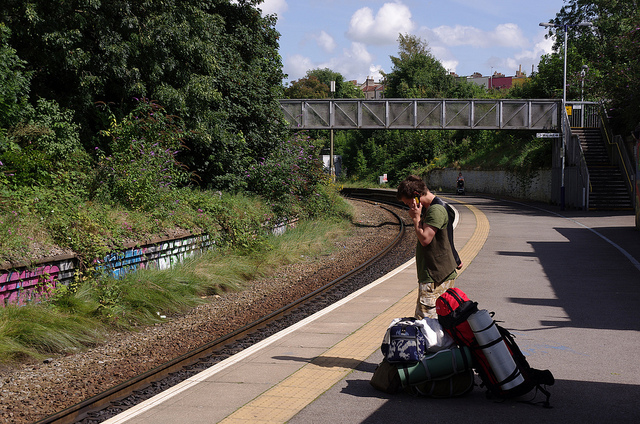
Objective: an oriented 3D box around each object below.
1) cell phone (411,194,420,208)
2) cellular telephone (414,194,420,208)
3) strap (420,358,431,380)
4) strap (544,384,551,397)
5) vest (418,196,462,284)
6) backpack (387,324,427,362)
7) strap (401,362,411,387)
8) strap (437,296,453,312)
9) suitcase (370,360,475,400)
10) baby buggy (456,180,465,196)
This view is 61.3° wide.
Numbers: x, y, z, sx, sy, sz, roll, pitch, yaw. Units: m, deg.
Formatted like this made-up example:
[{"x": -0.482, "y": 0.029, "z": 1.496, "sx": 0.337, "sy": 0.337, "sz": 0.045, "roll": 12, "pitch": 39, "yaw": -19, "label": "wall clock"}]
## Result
[{"x": 1.550, "y": -0.192, "z": 8.748, "sx": 0.144, "sy": 0.217, "sz": 0.050, "roll": -1, "pitch": -4, "yaw": 19, "label": "cell phone"}, {"x": 1.581, "y": -0.202, "z": 8.745, "sx": 0.039, "sy": 0.180, "sz": 0.096, "roll": 2, "pitch": 0, "yaw": -17, "label": "cellular telephone"}, {"x": 1.622, "y": 2.408, "z": 8.304, "sx": 0.114, "sy": 0.333, "sz": 0.030, "roll": -4, "pitch": 7, "yaw": 28, "label": "strap"}, {"x": 3.471, "y": 2.718, "z": 8.243, "sx": 0.040, "sy": 0.021, "sz": 0.273, "roll": -15, "pitch": -40, "yaw": 26, "label": "strap"}, {"x": 1.949, "y": 0.444, "z": 8.873, "sx": 0.686, "sy": 1.408, "sz": 0.287, "roll": -9, "pitch": 6, "yaw": -11, "label": "vest"}, {"x": 1.365, "y": 2.084, "z": 8.499, "sx": 0.584, "sy": 0.619, "sz": 0.351, "roll": -6, "pitch": -28, "yaw": 25, "label": "backpack"}, {"x": 1.342, "y": 2.491, "z": 8.333, "sx": 0.058, "sy": 0.285, "sz": 0.255, "roll": -4, "pitch": 2, "yaw": 5, "label": "strap"}, {"x": 1.964, "y": 1.430, "z": 8.448, "sx": 0.053, "sy": 0.209, "sz": 0.260, "roll": -11, "pitch": 6, "yaw": -33, "label": "strap"}, {"x": 1.639, "y": 2.551, "z": 8.519, "sx": 0.992, "sy": 0.403, "sz": 0.713, "roll": 0, "pitch": -4, "yaw": 10, "label": "suitcase"}, {"x": 12.626, "y": -2.278, "z": 48.488, "sx": 0.618, "sy": 1.280, "sz": 0.698, "roll": -6, "pitch": 6, "yaw": 17, "label": "baby buggy"}]
